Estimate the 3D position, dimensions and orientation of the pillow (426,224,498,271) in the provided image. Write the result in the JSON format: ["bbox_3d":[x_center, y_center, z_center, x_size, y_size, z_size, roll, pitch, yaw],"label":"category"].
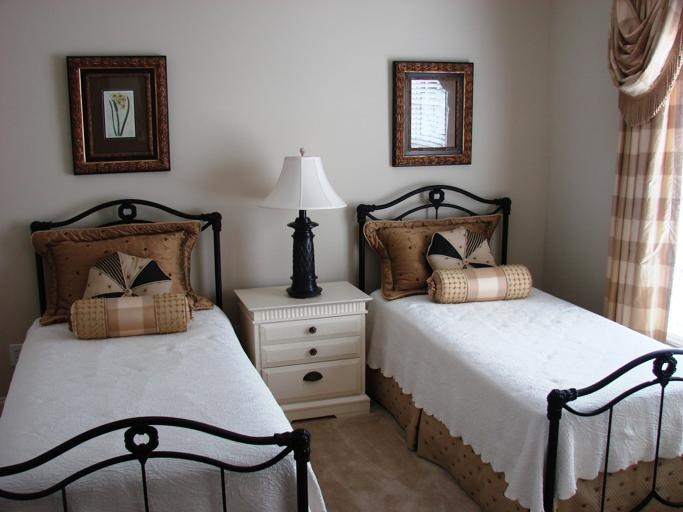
[{"bbox_3d":[0.764,-0.035,3.527,0.455,0.243,0.216,-5,14,-15],"label":"pillow"}]

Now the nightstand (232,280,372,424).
[{"bbox_3d":[-0.224,0.506,3.557,0.991,1.073,0.647,-5,13,-21],"label":"nightstand"}]

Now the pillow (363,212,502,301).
[{"bbox_3d":[0.567,-0.020,3.369,0.781,0.544,0.239,-6,-11,-32],"label":"pillow"}]

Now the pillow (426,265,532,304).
[{"bbox_3d":[0.848,0.172,3.435,0.686,0.268,0.248,-7,5,-11],"label":"pillow"}]

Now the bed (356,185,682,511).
[{"bbox_3d":[1.036,0.283,3.161,0.977,1.541,1.818,-6,15,-21],"label":"bed"}]
